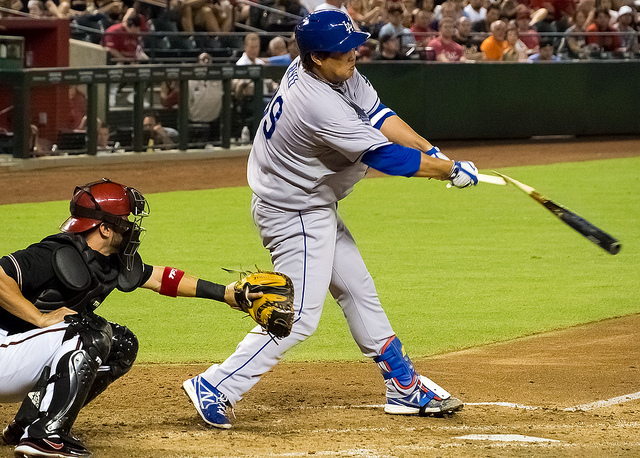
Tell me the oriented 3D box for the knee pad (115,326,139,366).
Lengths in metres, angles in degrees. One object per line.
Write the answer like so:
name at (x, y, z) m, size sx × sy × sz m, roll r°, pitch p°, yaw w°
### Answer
knee pad at (-1.266, 0.773, 7.042) m, size 0.122 × 0.252 × 0.191 m, roll 4°, pitch 8°, yaw 7°

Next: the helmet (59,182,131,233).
helmet at (-1.414, -0.167, 6.918) m, size 0.445 × 0.336 × 0.362 m, roll -8°, pitch 21°, yaw -40°

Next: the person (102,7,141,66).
person at (-3.003, -2.913, 16.134) m, size 0.574 × 0.874 × 0.732 m, roll 1°, pitch 8°, yaw -10°
